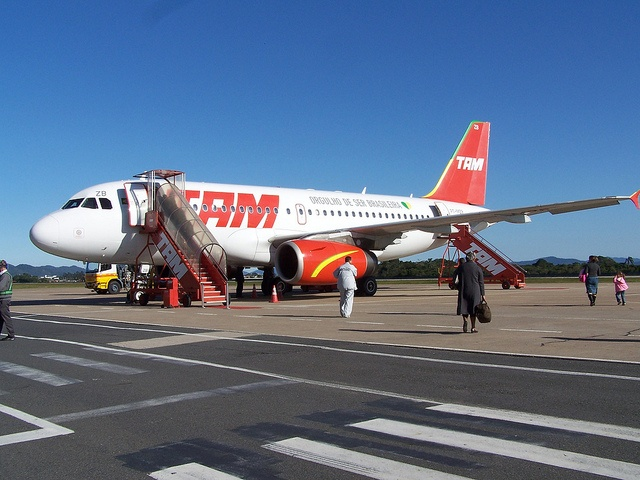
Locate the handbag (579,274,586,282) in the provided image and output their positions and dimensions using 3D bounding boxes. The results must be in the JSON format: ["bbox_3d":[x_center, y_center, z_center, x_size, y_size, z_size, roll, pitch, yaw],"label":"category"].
[{"bbox_3d":[10.930,1.604,19.023,0.099,0.290,0.312,5,-1,-30],"label":"handbag"}]

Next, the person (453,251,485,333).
[{"bbox_3d":[3.864,1.374,11.791,0.670,2.023,0.840,-2,-4,19],"label":"person"}]

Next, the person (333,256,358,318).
[{"bbox_3d":[0.950,1.630,16.096,0.616,2.063,1.408,-1,-4,2],"label":"person"}]

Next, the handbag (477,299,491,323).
[{"bbox_3d":[4.125,1.825,11.600,0.361,0.570,0.884,-2,-4,18],"label":"handbag"}]
